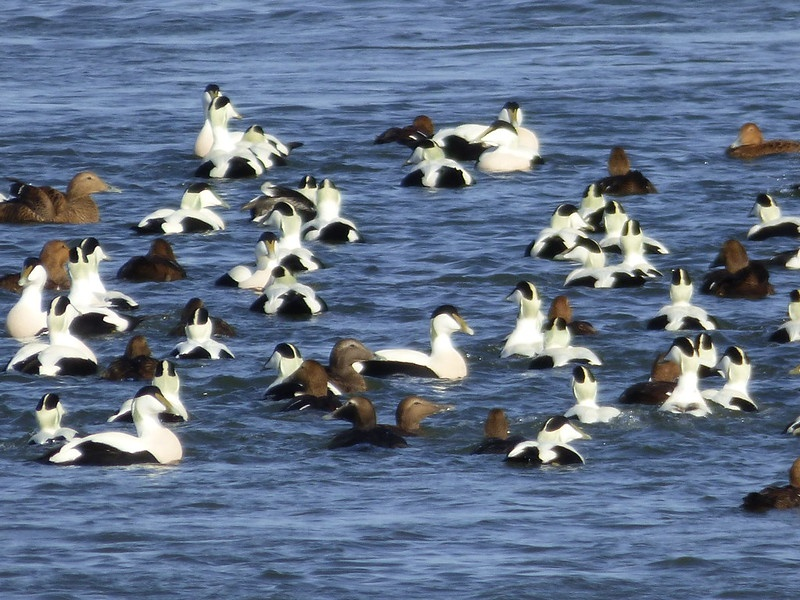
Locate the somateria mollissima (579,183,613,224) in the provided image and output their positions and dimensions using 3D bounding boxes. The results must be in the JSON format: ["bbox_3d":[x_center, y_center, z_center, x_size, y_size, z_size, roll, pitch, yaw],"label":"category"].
[{"bbox_3d":[3.160,-1.642,28.208,0.676,1.118,0.299,4,71,7],"label":"somateria mollissima"}]

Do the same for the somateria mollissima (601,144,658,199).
[{"bbox_3d":[3.998,-2.053,30.003,0.971,1.043,1.110,11,57,1],"label":"somateria mollissima"}]

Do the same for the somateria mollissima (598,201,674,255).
[{"bbox_3d":[3.520,-1.155,26.136,0.827,0.644,1.138,-15,33,-23],"label":"somateria mollissima"}]
